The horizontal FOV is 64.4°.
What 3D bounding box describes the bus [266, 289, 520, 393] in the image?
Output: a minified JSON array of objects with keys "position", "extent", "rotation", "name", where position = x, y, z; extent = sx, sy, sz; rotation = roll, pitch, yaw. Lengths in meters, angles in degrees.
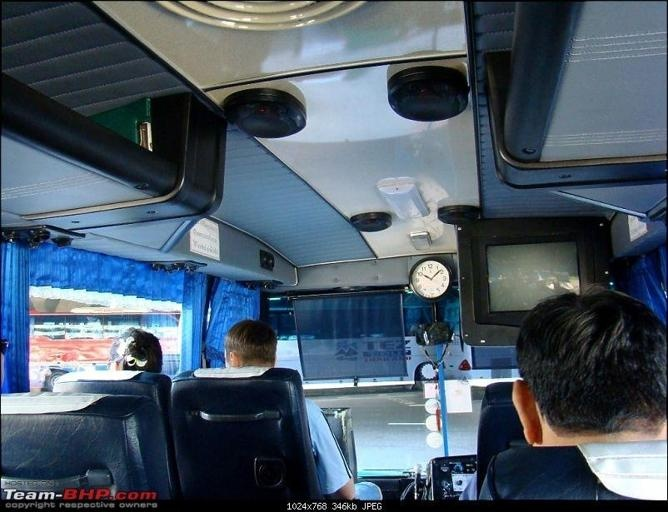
[{"position":[0.793,0.877,5.641],"extent":[3.056,1.177,0.940],"rotation":[-2,-1,3],"name":"bus"}]
